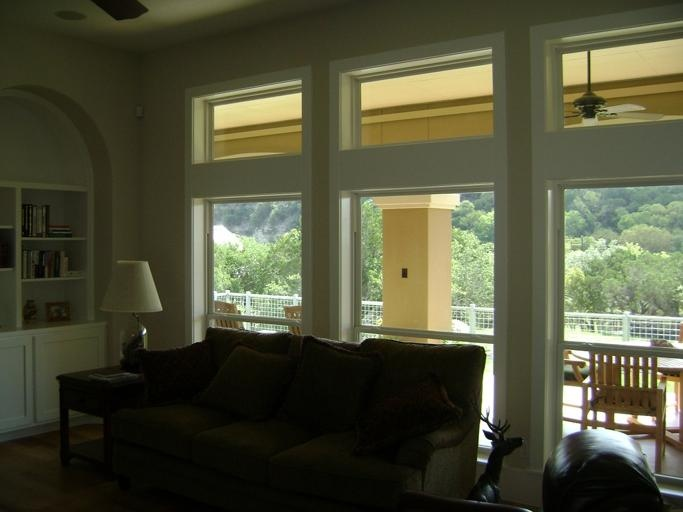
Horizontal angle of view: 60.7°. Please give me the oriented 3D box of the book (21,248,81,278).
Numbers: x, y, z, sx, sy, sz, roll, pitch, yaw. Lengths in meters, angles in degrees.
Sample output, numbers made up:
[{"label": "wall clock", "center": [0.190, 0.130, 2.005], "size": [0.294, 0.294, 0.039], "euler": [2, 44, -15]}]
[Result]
[{"label": "book", "center": [-3.037, 0.083, 6.059], "size": [0.077, 0.316, 0.536], "euler": [1, 0, 42]}]

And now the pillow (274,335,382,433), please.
[{"label": "pillow", "center": [-0.118, 0.909, 4.088], "size": [0.616, 0.590, 0.189], "euler": [13, -7, 38]}]

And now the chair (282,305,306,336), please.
[{"label": "chair", "center": [-0.455, 0.607, 5.601], "size": [0.224, 0.344, 0.246], "euler": [-3, -1, -6]}]

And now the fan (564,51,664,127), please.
[{"label": "fan", "center": [2.009, -1.136, 4.296], "size": [0.539, 0.532, 0.544], "euler": [0, 1, 44]}]

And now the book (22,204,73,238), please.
[{"label": "book", "center": [-3.079, -0.367, 6.061], "size": [0.112, 0.218, 0.353], "euler": [-6, -7, 44]}]

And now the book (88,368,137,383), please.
[{"label": "book", "center": [-1.913, 0.995, 4.838], "size": [0.230, 0.050, 0.143], "euler": [2, 0, 33]}]

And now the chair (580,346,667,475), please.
[{"label": "chair", "center": [2.155, 1.084, 4.464], "size": [0.674, 1.136, 0.779], "euler": [1, -1, 29]}]

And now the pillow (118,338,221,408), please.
[{"label": "pillow", "center": [-1.330, 0.936, 4.726], "size": [0.493, 0.478, 0.149], "euler": [-2, -9, -24]}]
